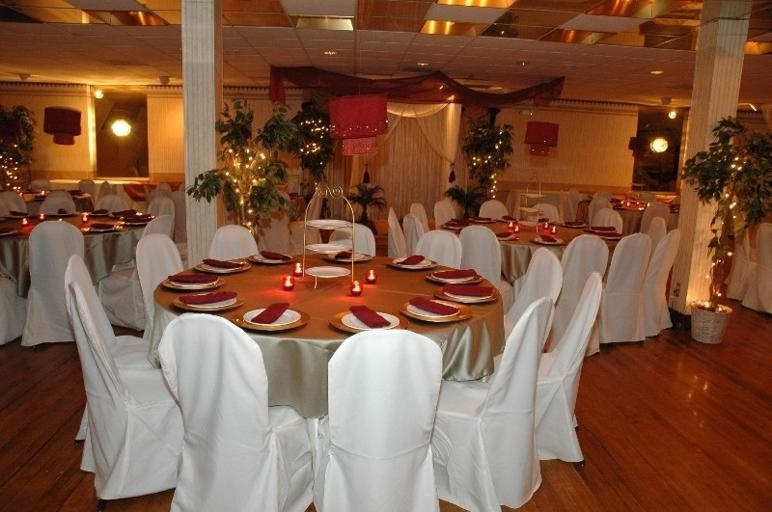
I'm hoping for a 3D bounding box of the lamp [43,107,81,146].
[{"bbox_3d":[-6.630,-2.711,11.102,0.642,0.827,0.747,0,23,-28],"label":"lamp"}]

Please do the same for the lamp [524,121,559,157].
[{"bbox_3d":[2.782,-2.145,9.853,0.737,0.779,0.189,7,10,5],"label":"lamp"}]

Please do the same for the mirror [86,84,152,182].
[{"bbox_3d":[-7.414,-3.174,14.862,1.276,2.459,1.362,3,19,-22],"label":"mirror"}]

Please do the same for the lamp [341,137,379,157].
[{"bbox_3d":[-0.294,-1.201,5.806,0.346,0.181,0.224,1,12,1],"label":"lamp"}]
